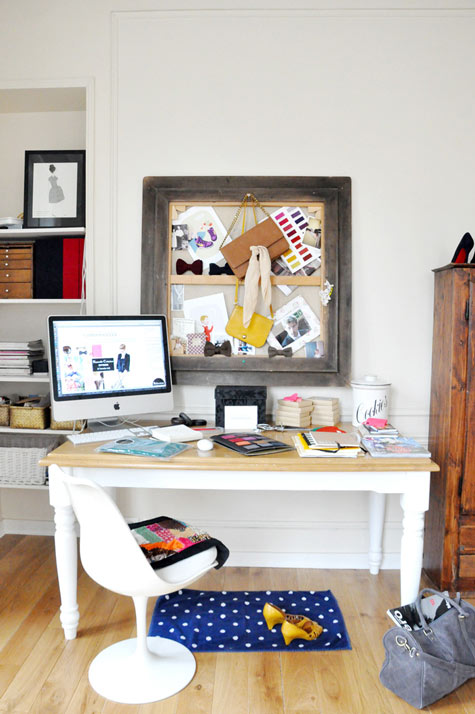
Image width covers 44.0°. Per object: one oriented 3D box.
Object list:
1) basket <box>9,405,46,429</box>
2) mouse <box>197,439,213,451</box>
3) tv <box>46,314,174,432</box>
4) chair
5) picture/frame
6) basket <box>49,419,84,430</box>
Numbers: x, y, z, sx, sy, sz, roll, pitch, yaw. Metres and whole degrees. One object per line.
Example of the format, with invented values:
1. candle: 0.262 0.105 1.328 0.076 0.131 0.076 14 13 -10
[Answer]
1. basket: -0.976 0.284 2.740 0.116 0.080 0.120 1 3 0
2. mouse: -0.124 0.312 2.138 0.039 0.023 0.041 2 16 12
3. tv: -0.522 0.056 2.418 0.470 0.433 0.109 -3 1 -27
4. chair: -0.330 0.675 1.858 0.468 0.739 0.393 -5 8 -40
5. picture/frame: -0.866 -0.799 2.789 0.344 0.442 0.028 0 -3 -4
6. basket: -0.767 0.305 2.660 0.087 0.062 0.048 0 -4 6
